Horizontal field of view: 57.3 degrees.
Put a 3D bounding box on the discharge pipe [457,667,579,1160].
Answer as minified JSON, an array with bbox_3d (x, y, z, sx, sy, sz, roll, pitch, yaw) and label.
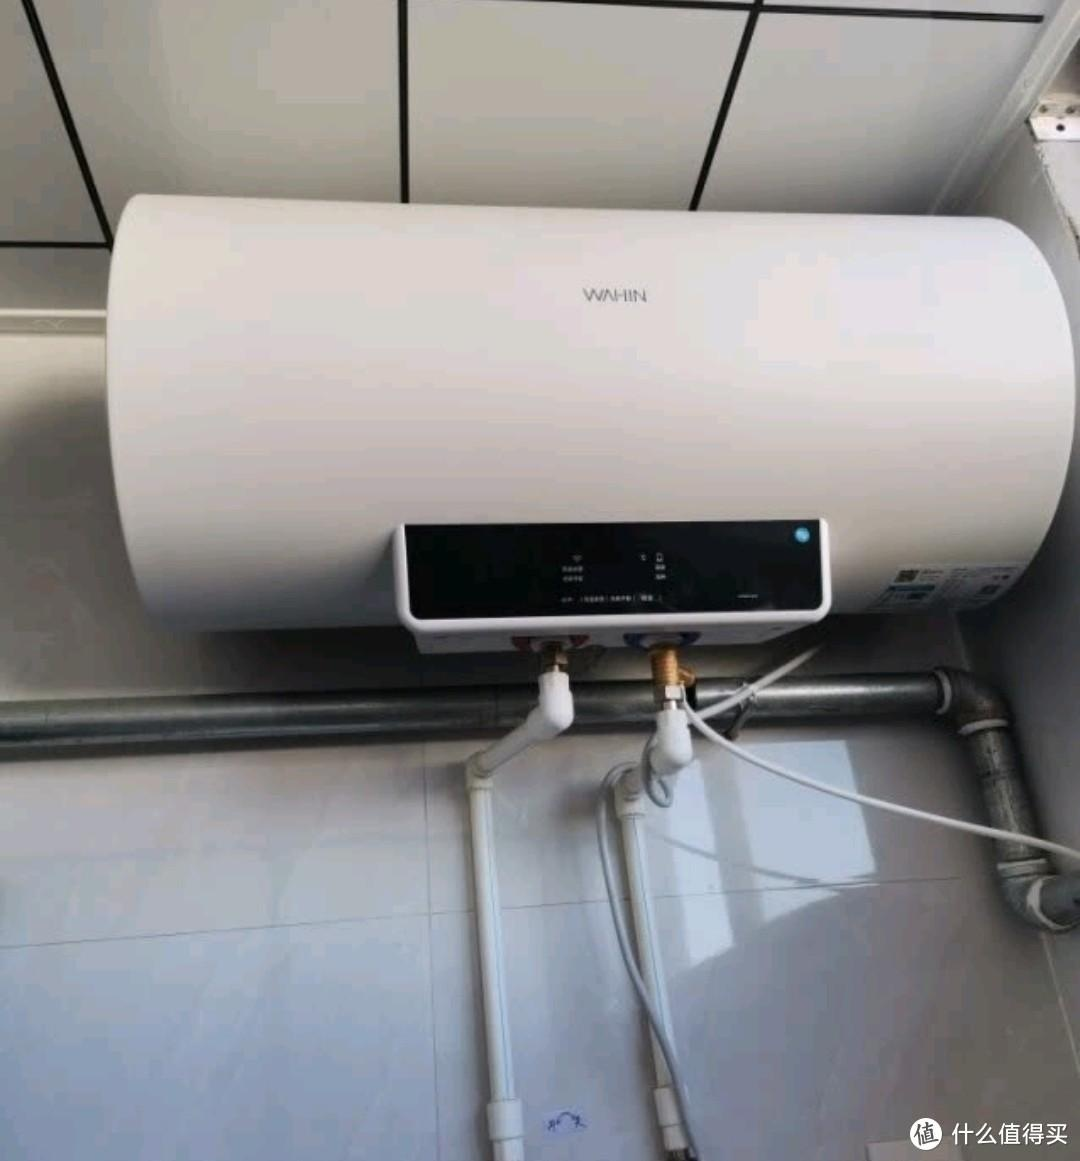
[{"bbox_3d":[-0.013,0.320,0.924,0.082,0.430,0.247,-3,-18,-13],"label":"discharge pipe"}]

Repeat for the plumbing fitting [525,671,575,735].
[{"bbox_3d":[0.010,0.112,0.900,0.037,0.057,0.060,-2,-17,-15],"label":"plumbing fitting"}]

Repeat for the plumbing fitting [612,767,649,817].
[{"bbox_3d":[0.097,0.226,1.055,0.018,0.065,0.067,7,-9,-1],"label":"plumbing fitting"}]

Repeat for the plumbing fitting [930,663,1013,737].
[{"bbox_3d":[0.492,0.142,1.134,0.078,0.083,0.059,-21,-2,16],"label":"plumbing fitting"}]
